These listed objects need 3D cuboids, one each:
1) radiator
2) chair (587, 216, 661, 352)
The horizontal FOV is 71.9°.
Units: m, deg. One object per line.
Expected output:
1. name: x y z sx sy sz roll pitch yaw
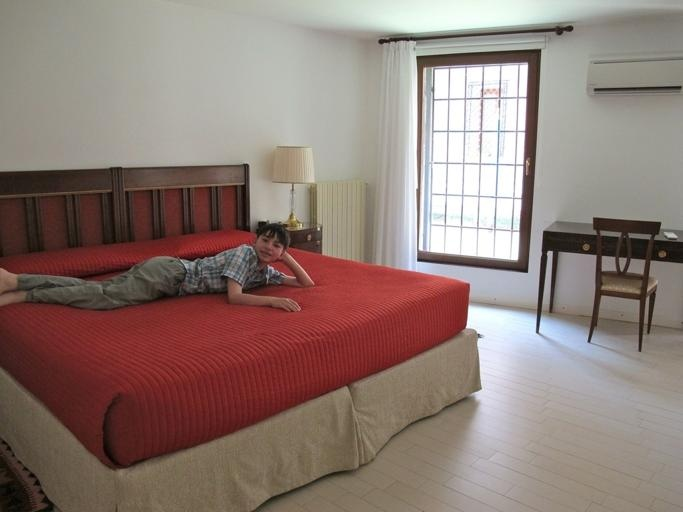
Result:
1. radiator: 0.000 -0.381 5.307 0.677 0.871 0.085 3 -9 -33
2. chair: 2.465 0.193 4.131 0.500 1.070 0.803 9 14 35
